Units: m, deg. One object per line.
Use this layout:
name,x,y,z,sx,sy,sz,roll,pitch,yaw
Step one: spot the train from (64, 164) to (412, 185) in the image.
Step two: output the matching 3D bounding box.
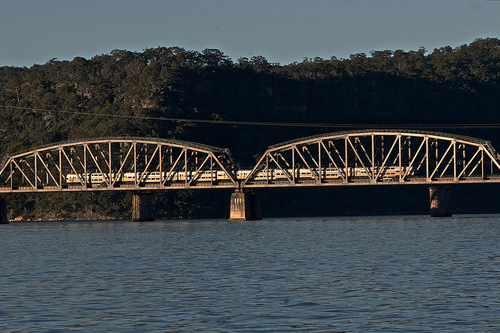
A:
train,-5.416,3.175,378.273,100.661,5.534,2.248,0,20,12
